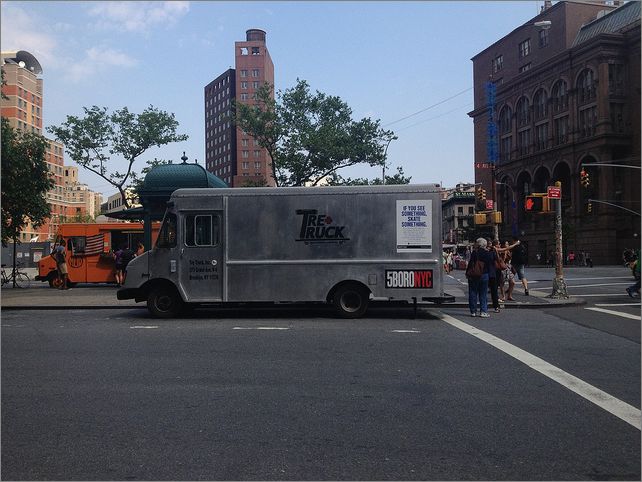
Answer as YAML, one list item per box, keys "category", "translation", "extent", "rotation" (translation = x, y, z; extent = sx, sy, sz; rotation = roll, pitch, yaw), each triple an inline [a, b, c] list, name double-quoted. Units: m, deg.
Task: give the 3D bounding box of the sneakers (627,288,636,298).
- category: "sneakers"
  translation: [10.431, 1.752, 20.862]
  extent: [0.138, 0.129, 0.378]
  rotation: [-21, -50, 21]

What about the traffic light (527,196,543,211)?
- category: "traffic light"
  translation: [7.270, -1.275, 21.207]
  extent: [0.373, 0.543, 0.636]
  rotation: [-2, 3, -22]

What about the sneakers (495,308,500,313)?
- category: "sneakers"
  translation: [4.835, 1.899, 16.949]
  extent: [0.142, 0.146, 0.090]
  rotation: [7, -6, -14]

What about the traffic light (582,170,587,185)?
- category: "traffic light"
  translation: [11.737, -2.772, 27.493]
  extent: [0.253, 0.718, 0.801]
  rotation: [0, 3, 21]

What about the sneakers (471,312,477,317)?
- category: "sneakers"
  translation: [3.948, 1.898, 16.020]
  extent: [0.075, 0.123, 0.100]
  rotation: [3, 1, 3]

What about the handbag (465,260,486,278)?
- category: "handbag"
  translation: [3.947, 0.713, 15.744]
  extent: [0.373, 0.449, 0.174]
  rotation: [7, 12, 21]

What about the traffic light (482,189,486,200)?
- category: "traffic light"
  translation: [9.368, -2.704, 35.781]
  extent: [0.078, 0.431, 0.441]
  rotation: [1, 3, 30]

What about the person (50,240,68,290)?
- category: "person"
  translation: [-11.078, 1.135, 26.335]
  extent: [0.476, 1.875, 0.687]
  rotation: [-2, 3, -24]

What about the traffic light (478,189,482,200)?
- category: "traffic light"
  translation: [9.217, -2.726, 35.701]
  extent: [0.271, 0.563, 1.280]
  rotation: [0, 3, 18]

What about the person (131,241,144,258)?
- category: "person"
  translation: [-7.449, 0.339, 25.127]
  extent: [0.348, 0.311, 0.941]
  rotation: [-17, 14, 3]
